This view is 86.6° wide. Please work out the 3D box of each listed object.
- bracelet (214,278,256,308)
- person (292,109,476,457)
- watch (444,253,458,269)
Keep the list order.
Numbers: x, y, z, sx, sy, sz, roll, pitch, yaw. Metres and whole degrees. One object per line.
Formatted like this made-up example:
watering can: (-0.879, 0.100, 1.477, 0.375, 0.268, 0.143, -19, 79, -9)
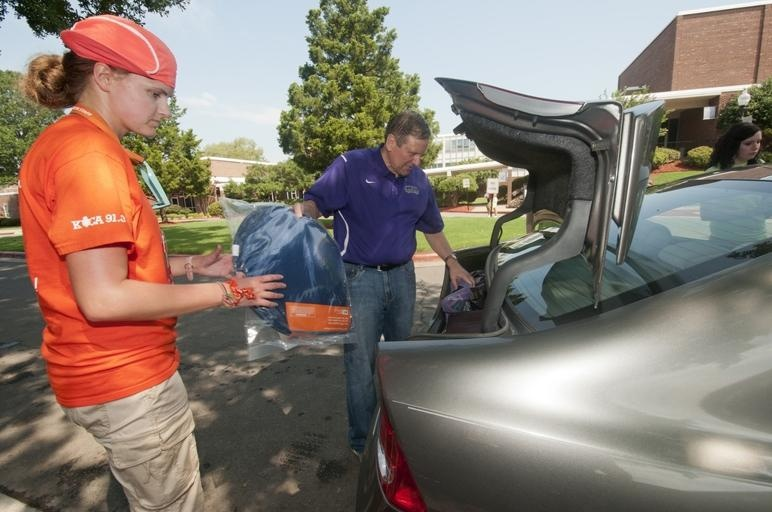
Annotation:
bracelet: (-0.637, 0.160, 1.743, 0.122, 0.051, 0.098, 28, 4, 41)
person: (-0.031, 0.216, 2.984, 1.170, 2.458, 0.576, -8, 12, -26)
watch: (0.491, 0.036, 3.089, 0.077, 0.103, 0.113, 7, 12, 14)
